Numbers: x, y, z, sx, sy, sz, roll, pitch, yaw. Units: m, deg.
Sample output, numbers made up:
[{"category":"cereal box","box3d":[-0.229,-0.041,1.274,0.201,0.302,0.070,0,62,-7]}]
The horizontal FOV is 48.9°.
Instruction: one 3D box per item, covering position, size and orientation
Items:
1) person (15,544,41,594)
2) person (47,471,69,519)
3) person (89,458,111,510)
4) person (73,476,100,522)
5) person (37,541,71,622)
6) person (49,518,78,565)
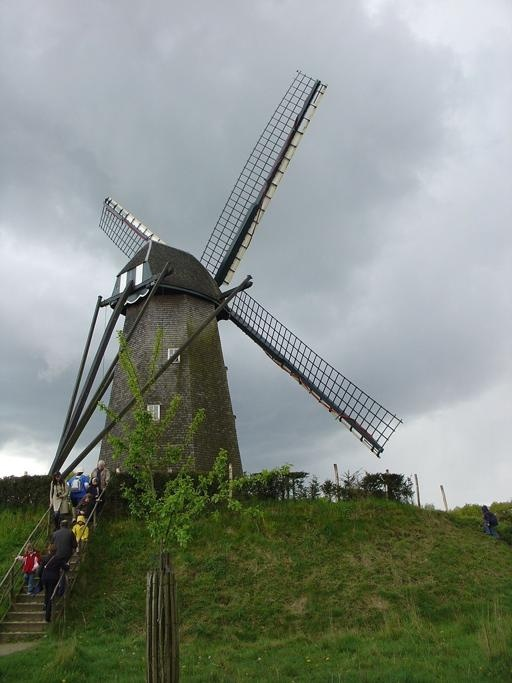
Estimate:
[{"category":"person","box3d":[-5.386,5.400,13.478,0.437,1.083,0.806,-4,10,-26]},{"category":"person","box3d":[-5.400,4.284,15.522,0.490,1.553,0.914,-3,10,-22]},{"category":"person","box3d":[-4.974,4.485,18.037,0.615,1.398,0.407,3,20,-5]},{"category":"person","box3d":[-4.965,4.813,16.725,0.590,1.226,1.817,-1,9,-9]},{"category":"person","box3d":[-4.460,5.165,12.408,0.467,1.394,0.469,6,0,7]},{"category":"person","box3d":[-4.333,4.674,12.874,0.475,1.330,0.375,3,7,1]}]
